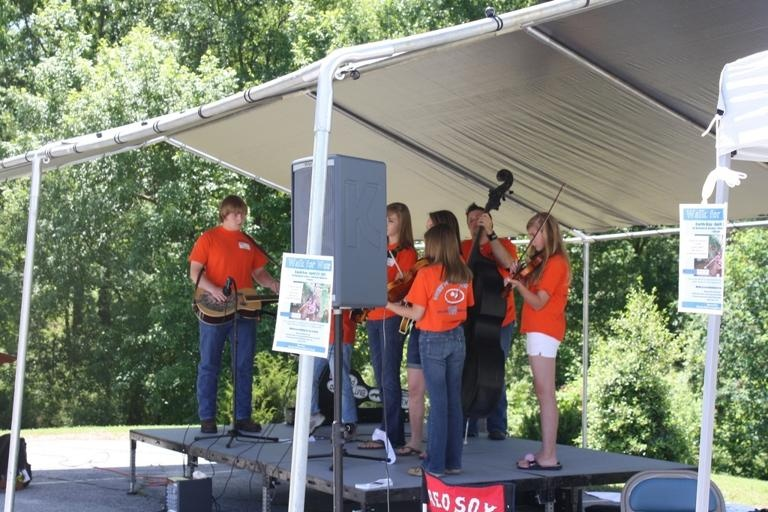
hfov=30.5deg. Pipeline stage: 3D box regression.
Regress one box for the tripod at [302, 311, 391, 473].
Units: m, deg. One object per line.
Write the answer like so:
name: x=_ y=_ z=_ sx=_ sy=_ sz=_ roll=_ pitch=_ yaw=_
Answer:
tripod: x=-0.863 y=2.437 z=27.247 sx=1.437 sy=3.035 sz=0.474 roll=-5 pitch=-4 yaw=37

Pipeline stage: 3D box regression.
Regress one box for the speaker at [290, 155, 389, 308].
speaker: x=-0.778 y=-0.434 z=24.896 sx=1.645 sy=2.634 sz=0.666 roll=2 pitch=-9 yaw=5

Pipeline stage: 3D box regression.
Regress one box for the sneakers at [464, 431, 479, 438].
sneakers: x=1.751 y=3.554 z=27.979 sx=0.195 sy=0.154 sz=0.110 roll=0 pitch=-1 yaw=-26

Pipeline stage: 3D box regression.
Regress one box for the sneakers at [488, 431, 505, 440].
sneakers: x=2.245 y=3.538 z=27.812 sx=0.130 sy=0.135 sz=0.295 roll=-6 pitch=1 yaw=-45

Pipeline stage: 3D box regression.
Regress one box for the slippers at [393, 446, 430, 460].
slippers: x=0.494 y=3.699 z=26.513 sx=0.558 sy=0.143 sz=0.231 roll=4 pitch=-9 yaw=13

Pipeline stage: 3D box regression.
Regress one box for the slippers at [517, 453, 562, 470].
slippers: x=2.880 y=3.777 z=26.184 sx=0.621 sy=0.218 sz=0.347 roll=1 pitch=-10 yaw=6

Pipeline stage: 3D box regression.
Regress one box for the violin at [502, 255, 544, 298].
violin: x=2.666 y=0.285 z=26.241 sx=0.241 sy=0.882 sz=0.449 roll=44 pitch=-11 yaw=-1

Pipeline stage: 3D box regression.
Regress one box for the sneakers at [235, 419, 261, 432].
sneakers: x=-2.723 y=3.319 z=27.661 sx=0.479 sy=0.226 sz=0.219 roll=0 pitch=-5 yaw=9
